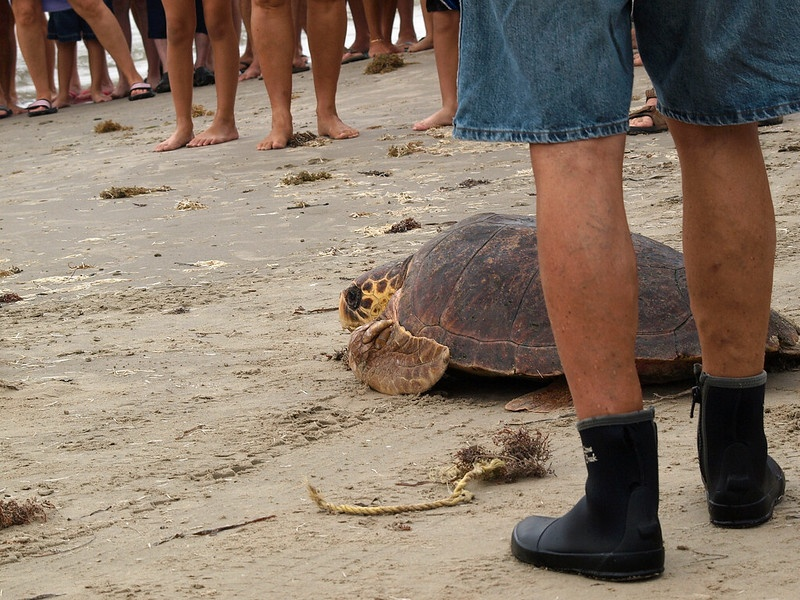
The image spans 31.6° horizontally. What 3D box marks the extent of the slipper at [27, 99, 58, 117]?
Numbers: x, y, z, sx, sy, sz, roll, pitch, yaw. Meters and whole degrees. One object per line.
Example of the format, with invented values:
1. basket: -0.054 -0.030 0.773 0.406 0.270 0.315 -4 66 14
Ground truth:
1. slipper: -3.556 -1.923 14.058 0.277 0.163 0.362 -7 11 -11

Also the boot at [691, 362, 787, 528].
1. boot: 1.018 0.453 4.284 0.223 0.447 0.187 -4 13 13

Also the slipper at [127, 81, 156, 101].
1. slipper: -2.568 -2.083 14.048 0.249 0.177 0.341 -7 11 -10
